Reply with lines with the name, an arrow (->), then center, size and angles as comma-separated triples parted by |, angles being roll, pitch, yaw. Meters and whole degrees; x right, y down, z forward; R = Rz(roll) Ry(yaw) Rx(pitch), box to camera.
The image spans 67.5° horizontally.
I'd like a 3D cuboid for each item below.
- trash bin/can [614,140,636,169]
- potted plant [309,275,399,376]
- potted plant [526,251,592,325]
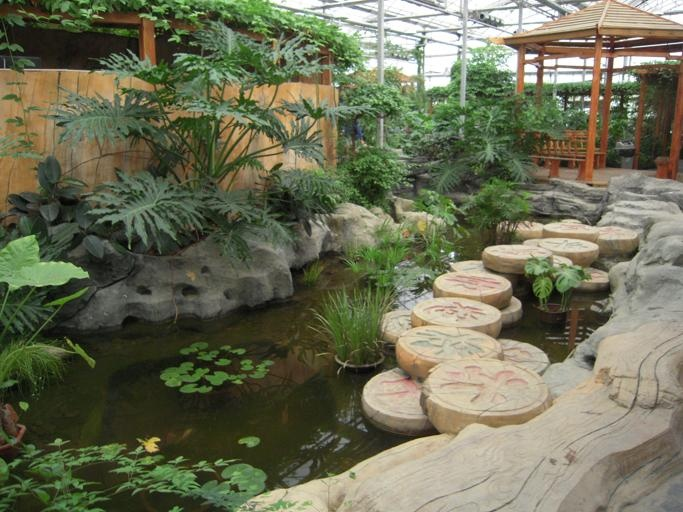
trash bin/can -> 7.410, -2.671, 13.351 | 0.484, 0.726, 0.946 | 8, 15, 24
potted plant -> 0.123, 0.653, 4.955 | 1.035, 0.765, 0.774 | -4, 21, -3
potted plant -> 2.403, 0.426, 5.628 | 0.665, 0.488, 0.665 | 19, -18, -37
